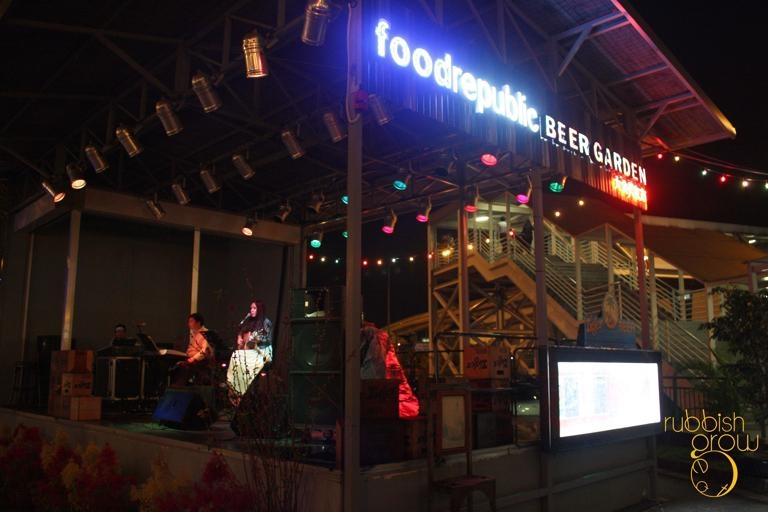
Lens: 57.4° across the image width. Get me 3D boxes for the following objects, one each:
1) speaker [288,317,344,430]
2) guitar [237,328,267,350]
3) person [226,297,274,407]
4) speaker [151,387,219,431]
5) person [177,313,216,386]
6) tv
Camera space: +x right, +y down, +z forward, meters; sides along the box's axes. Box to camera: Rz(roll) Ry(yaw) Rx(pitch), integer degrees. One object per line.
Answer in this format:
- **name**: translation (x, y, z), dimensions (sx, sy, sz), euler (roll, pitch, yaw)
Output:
- **speaker**: translation (-1.102, 1.837, 11.144), dimensions (0.827, 1.696, 0.499), euler (1, -13, -1)
- **guitar**: translation (-2.770, 1.768, 14.789), dimensions (0.393, 0.281, 0.551), euler (6, -13, -43)
- **person**: translation (-2.877, 2.030, 14.750), dimensions (0.690, 2.067, 0.565), euler (11, 12, -14)
- **speaker**: translation (-3.610, 2.805, 12.918), dimensions (0.994, 0.744, 0.843), euler (-7, -1, 31)
- **person**: translation (-3.865, 1.936, 14.581), dimensions (0.730, 1.477, 0.611), euler (5, -14, -17)
- **tv**: translation (3.771, 2.535, 12.414), dimensions (3.403, 1.857, 0.181), euler (6, -10, -34)
